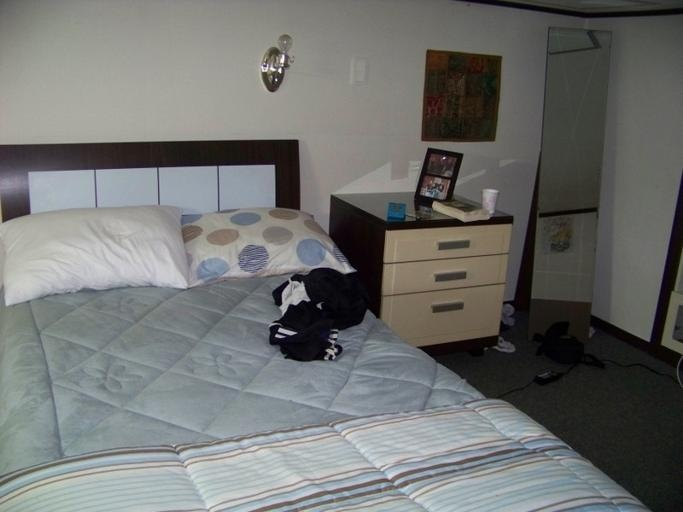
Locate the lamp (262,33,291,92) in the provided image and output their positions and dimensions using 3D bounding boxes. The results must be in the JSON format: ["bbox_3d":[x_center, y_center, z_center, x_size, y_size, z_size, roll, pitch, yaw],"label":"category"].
[{"bbox_3d":[-0.373,-1.118,2.963,0.194,0.306,0.206,-1,16,-12],"label":"lamp"}]

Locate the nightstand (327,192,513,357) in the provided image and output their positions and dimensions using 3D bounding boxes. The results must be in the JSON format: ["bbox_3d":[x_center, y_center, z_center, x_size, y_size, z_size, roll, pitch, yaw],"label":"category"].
[{"bbox_3d":[0.467,0.099,3.370,0.906,0.874,0.886,-3,17,-18],"label":"nightstand"}]

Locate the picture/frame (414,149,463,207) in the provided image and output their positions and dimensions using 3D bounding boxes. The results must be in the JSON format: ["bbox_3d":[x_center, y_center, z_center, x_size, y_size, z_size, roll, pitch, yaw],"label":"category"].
[{"bbox_3d":[0.617,-0.509,3.268,0.344,0.471,0.035,21,10,42],"label":"picture/frame"}]
